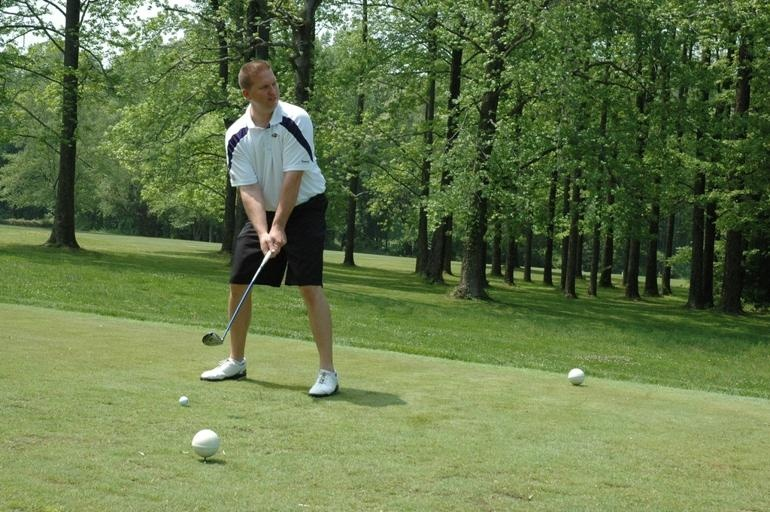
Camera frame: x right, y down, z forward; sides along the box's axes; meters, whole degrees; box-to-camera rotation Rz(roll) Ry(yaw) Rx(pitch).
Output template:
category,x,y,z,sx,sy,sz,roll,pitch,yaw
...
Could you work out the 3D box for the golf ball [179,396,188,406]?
category,x,y,z,sx,sy,sz,roll,pitch,yaw
golf ball,-3.861,2.733,18.785,0.160,0.155,0.152,-18,43,18
